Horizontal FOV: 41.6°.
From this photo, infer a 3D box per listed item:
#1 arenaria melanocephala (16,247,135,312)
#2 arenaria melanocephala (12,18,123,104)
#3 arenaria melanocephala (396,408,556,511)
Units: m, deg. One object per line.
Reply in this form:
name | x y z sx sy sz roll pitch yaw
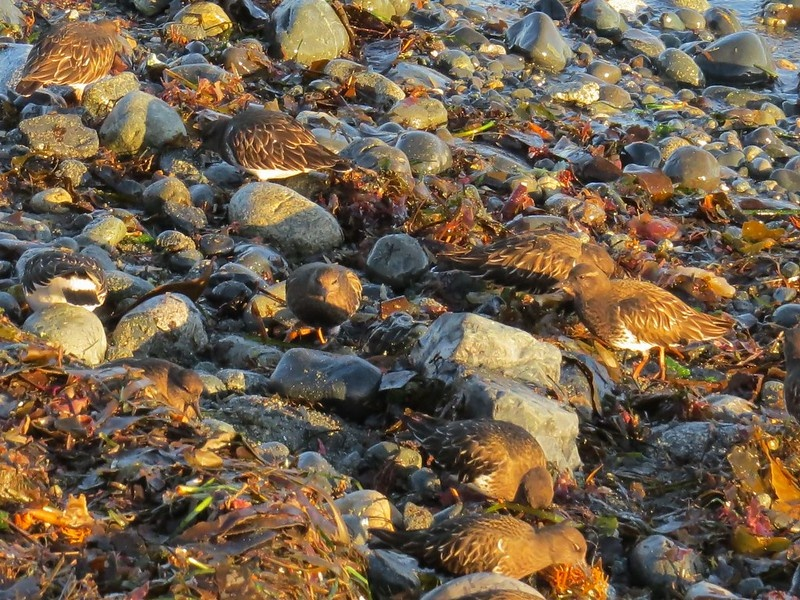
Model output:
arenaria melanocephala | -2.241 -0.103 6.999 0.522 0.356 0.377 -2 53 -17
arenaria melanocephala | -2.921 -2.198 9.612 0.547 0.663 1.033 54 35 -4
arenaria melanocephala | 0.466 0.876 6.207 0.849 0.491 0.392 46 9 9
